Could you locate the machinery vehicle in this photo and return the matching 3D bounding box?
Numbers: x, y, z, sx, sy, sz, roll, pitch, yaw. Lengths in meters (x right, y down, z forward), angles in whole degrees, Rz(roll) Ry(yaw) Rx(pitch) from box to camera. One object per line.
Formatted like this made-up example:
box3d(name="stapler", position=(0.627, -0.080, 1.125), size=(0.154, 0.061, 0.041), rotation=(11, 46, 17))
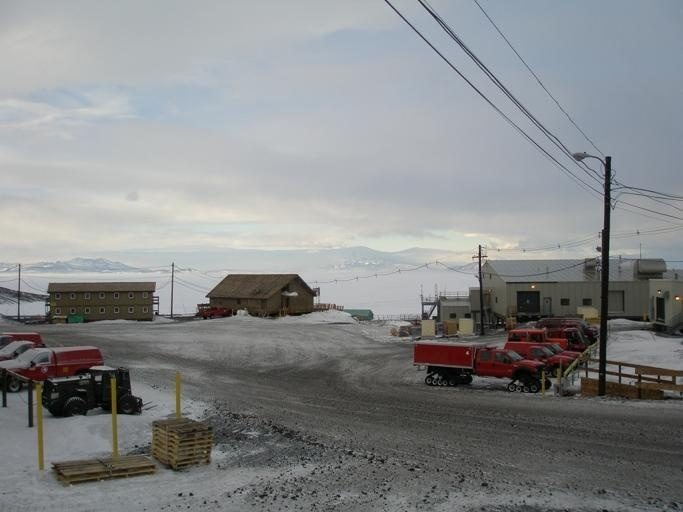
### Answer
box3d(name="machinery vehicle", position=(-10.901, 5.926, 26.664), size=(3.982, 1.795, 1.981), rotation=(-2, 3, -35))
